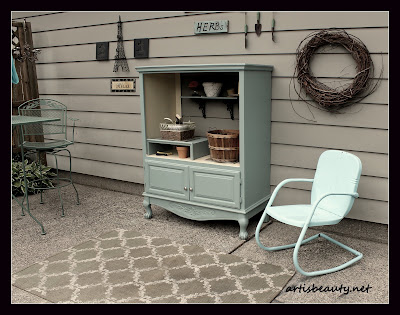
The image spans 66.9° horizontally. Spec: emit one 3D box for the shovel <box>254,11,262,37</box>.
[{"bbox_3d":[0.612,-1.405,3.177,0.077,0.240,0.037,3,13,21],"label":"shovel"}]

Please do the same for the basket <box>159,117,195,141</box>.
[{"bbox_3d":[-0.250,-0.315,3.464,0.321,0.244,0.312,-6,8,-42],"label":"basket"}]

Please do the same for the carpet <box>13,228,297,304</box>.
[{"bbox_3d":[-0.373,0.926,2.389,2.116,0.021,0.874,1,13,13],"label":"carpet"}]

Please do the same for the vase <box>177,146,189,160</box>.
[{"bbox_3d":[-0.187,-0.063,3.293,0.131,0.095,0.129,1,3,6],"label":"vase"}]

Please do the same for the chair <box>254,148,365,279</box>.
[{"bbox_3d":[0.956,0.438,2.616,0.798,0.884,0.632,-5,8,-22],"label":"chair"}]

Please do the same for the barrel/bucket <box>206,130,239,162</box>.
[{"bbox_3d":[0.261,-0.150,3.172,0.336,0.258,0.359,0,9,0],"label":"barrel/bucket"}]

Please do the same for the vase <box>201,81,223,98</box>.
[{"bbox_3d":[0.145,-0.756,3.353,0.194,0.125,0.189,-1,10,-6],"label":"vase"}]

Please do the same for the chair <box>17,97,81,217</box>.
[{"bbox_3d":[-1.957,-0.061,3.926,0.719,1.362,0.569,-5,15,-39],"label":"chair"}]

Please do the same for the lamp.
[{"bbox_3d":[-2.581,-1.734,4.460,0.350,0.600,0.234,-8,14,-28],"label":"lamp"}]
